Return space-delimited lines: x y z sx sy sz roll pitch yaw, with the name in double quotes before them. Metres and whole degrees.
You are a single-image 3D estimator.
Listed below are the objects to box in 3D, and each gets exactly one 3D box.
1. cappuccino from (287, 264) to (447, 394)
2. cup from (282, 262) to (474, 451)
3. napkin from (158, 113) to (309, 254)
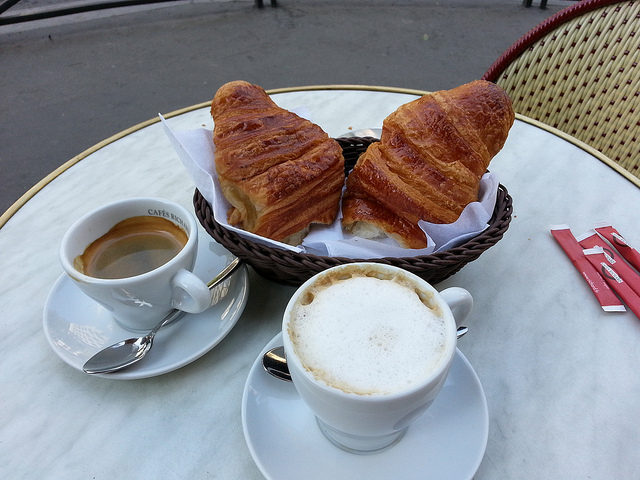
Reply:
"cappuccino" 0.067 0.138 0.725 0.169 0.085 0.186 2 39 0
"cup" 0.072 0.172 0.766 0.248 0.143 0.246 -1 53 1
"napkin" -0.150 -0.148 1.074 0.335 0.293 0.262 -21 34 -38
